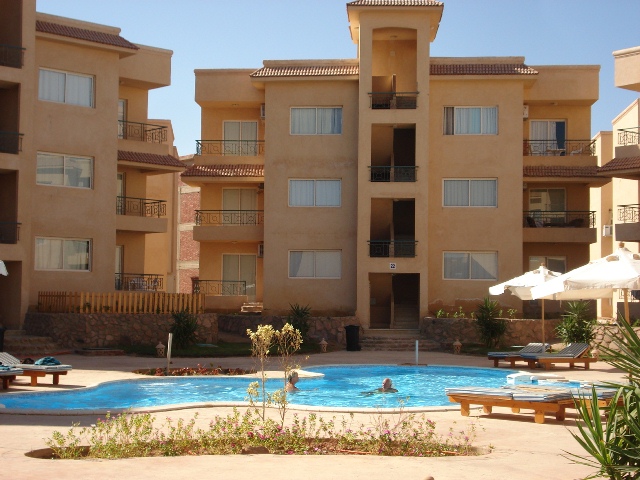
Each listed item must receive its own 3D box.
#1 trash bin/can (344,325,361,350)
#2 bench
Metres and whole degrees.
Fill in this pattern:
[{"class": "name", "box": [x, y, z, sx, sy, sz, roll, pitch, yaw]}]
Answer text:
[{"class": "trash bin/can", "box": [1.706, 4.527, 48.030, 0.966, 1.258, 0.947, 1, 0, 39]}, {"class": "bench", "box": [6.169, 4.891, 30.480, 4.683, 1.017, 1.941, -1, -6, 7]}]
